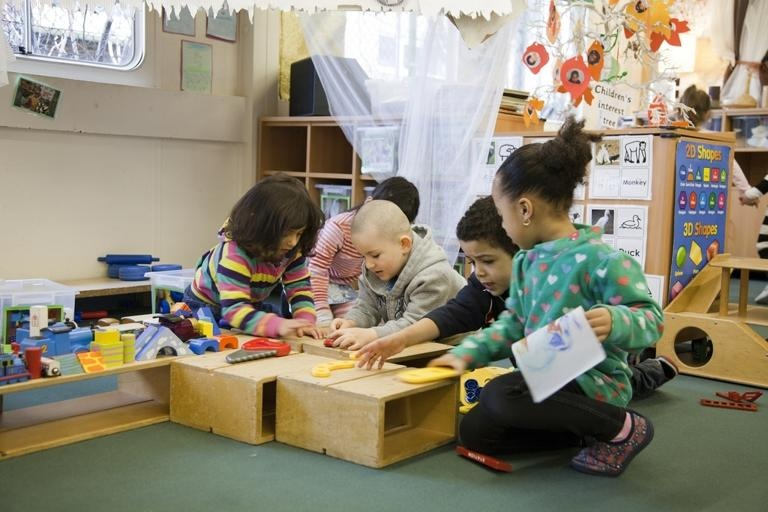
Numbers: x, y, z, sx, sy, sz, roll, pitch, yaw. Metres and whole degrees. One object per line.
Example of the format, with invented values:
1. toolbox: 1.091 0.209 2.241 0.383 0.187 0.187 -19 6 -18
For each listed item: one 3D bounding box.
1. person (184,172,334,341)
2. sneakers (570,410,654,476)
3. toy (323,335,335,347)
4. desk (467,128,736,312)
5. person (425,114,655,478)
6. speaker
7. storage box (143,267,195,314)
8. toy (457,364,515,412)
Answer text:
1. person: -0.477 -0.083 2.409 0.722 0.758 0.519 19 20 26
2. sneakers: 0.729 0.594 1.679 0.263 0.107 0.134 -37 29 -15
3. toy: -0.205 0.321 2.016 0.032 0.015 0.064 -1 3 1
4. desk: 1.183 -0.285 2.958 1.288 1.162 0.957 0 0 35
5. person: 0.508 0.123 2.224 0.974 1.451 1.024 3 -2 7
6. speaker: -0.427 -1.262 4.040 0.311 0.489 1.003 -1 8 -24
7. storage box: -1.266 0.221 3.383 0.348 0.241 0.302 0 -13 -4
8. toy: 0.362 0.489 2.098 0.157 0.050 0.212 -2 10 32
